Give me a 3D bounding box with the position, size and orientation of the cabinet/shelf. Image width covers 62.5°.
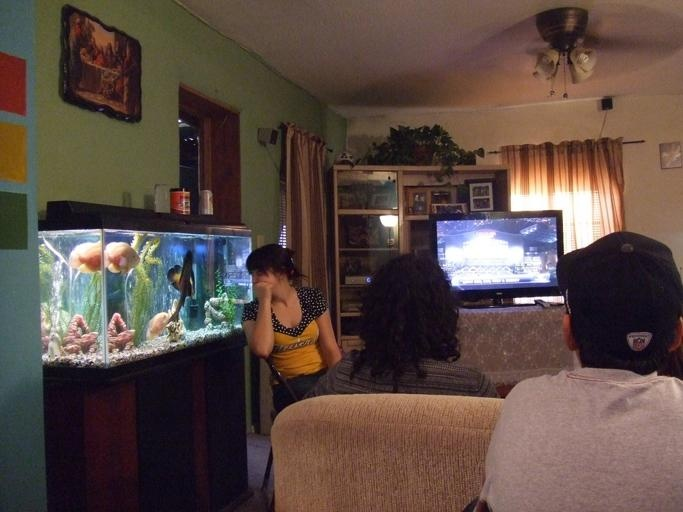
[{"bbox_3d":[0.580,-0.033,4.119,1.539,1.972,0.433,0,-2,-6],"label":"cabinet/shelf"}]

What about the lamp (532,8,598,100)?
[{"bbox_3d":[1.614,-1.479,4.055,0.355,0.475,0.351,6,-16,-13],"label":"lamp"}]

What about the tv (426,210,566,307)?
[{"bbox_3d":[1.243,-0.003,4.443,0.701,0.563,0.226,0,-10,1],"label":"tv"}]

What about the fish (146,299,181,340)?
[{"bbox_3d":[-0.763,0.272,2.416,0.050,0.159,0.072,8,-46,8],"label":"fish"}]

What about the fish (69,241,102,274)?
[{"bbox_3d":[-0.979,0.021,2.163,0.094,0.135,0.052,8,-18,-27],"label":"fish"}]

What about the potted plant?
[{"bbox_3d":[0.732,-0.992,5.342,1.037,0.479,0.231,-1,2,15],"label":"potted plant"}]

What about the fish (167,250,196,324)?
[{"bbox_3d":[-0.718,0.126,2.537,0.075,0.279,0.127,4,-12,28],"label":"fish"}]

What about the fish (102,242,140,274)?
[{"bbox_3d":[-0.864,0.003,2.213,0.024,0.092,0.165,-1,2,22],"label":"fish"}]
